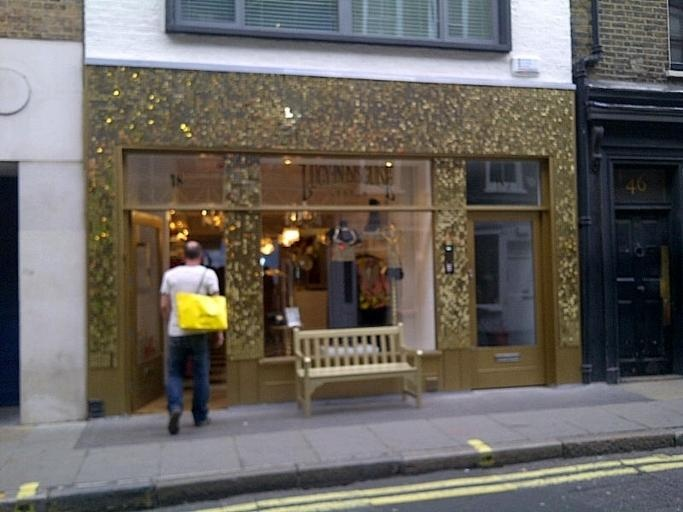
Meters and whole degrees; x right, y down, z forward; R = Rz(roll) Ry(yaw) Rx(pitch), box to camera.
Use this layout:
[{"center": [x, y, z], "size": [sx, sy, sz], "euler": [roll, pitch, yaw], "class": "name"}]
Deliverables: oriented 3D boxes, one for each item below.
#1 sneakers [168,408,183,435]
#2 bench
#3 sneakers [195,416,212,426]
[{"center": [-2.126, 2.117, 10.304], "size": [0.136, 0.378, 0.154], "euler": [7, 21, -13], "class": "sneakers"}, {"center": [0.241, 1.606, 11.331], "size": [1.697, 1.199, 0.716], "euler": [-1, -2, -20], "class": "bench"}, {"center": [-1.844, 2.194, 10.744], "size": [0.081, 0.106, 0.232], "euler": [3, 5, 27], "class": "sneakers"}]
